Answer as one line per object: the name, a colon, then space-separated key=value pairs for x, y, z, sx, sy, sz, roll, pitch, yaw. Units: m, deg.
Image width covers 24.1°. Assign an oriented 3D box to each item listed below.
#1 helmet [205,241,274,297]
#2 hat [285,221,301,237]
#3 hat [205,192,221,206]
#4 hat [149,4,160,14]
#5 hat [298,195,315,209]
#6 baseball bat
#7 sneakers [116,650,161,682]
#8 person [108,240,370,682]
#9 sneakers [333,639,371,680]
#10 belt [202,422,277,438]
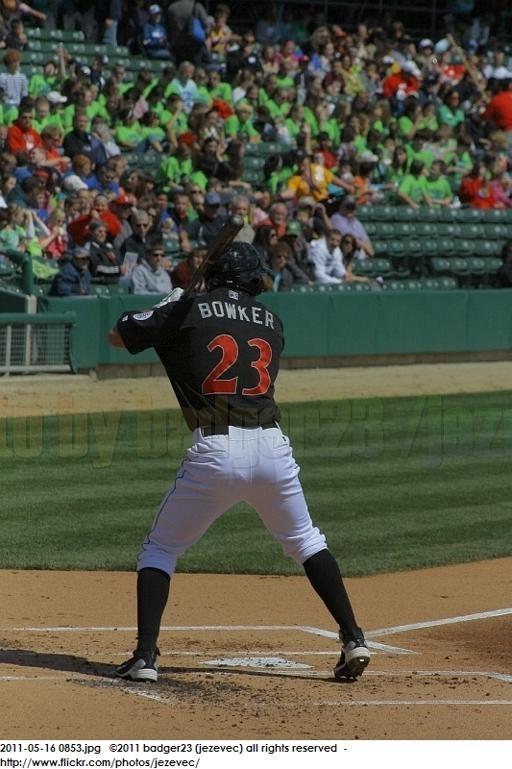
helmet: x=-0.041 y=-0.422 z=4.331 sx=0.250 sy=0.168 sz=0.189 roll=1 pitch=11 yaw=-10
hat: x=0.410 y=-1.651 z=12.598 sx=0.109 sy=0.154 sz=0.227 roll=7 pitch=9 yaw=40
hat: x=-0.435 y=-1.888 z=12.141 sx=0.147 sy=0.134 sz=0.173 roll=1 pitch=7 yaw=-3
hat: x=-1.330 y=-5.002 z=15.892 sx=0.119 sy=0.074 sz=0.156 roll=-7 pitch=16 yaw=-22
hat: x=0.560 y=-1.991 z=12.930 sx=0.124 sy=0.113 sz=0.150 roll=16 pitch=21 yaw=3
baseball bat: x=-0.161 y=-0.440 z=4.059 sx=0.066 sy=0.085 sz=0.502 roll=-48 pitch=2 yaw=-29
sneakers: x=-0.391 y=0.959 z=4.091 sx=0.076 sy=0.086 sz=0.208 roll=9 pitch=-12 yaw=-37
person: x=-0.066 y=0.356 z=4.140 sx=0.861 sy=1.370 sz=0.350 roll=0 pitch=8 yaw=-8
sneakers: x=0.335 y=0.962 z=4.211 sx=0.085 sy=0.211 sz=0.096 roll=-10 pitch=59 yaw=-20
belt: x=-0.041 y=0.149 z=4.046 sx=0.282 sy=0.039 sz=0.073 roll=-2 pitch=7 yaw=-24
